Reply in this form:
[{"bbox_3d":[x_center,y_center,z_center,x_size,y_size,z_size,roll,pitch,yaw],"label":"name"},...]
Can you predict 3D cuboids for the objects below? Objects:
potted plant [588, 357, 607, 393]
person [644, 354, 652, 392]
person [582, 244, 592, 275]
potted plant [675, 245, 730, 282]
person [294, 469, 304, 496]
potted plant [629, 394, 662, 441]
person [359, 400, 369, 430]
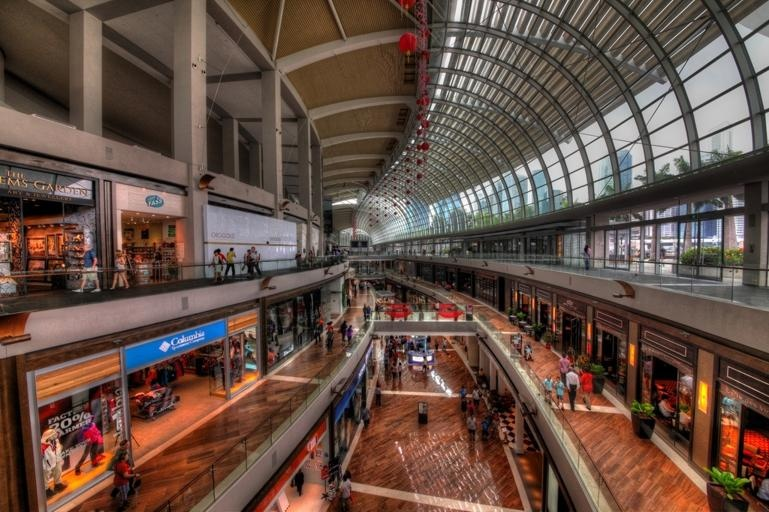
[{"bbox_3d":[10.138,5.763,22.533,0.760,1.417,0.858,-7,-13,35],"label":"potted plant"},{"bbox_3d":[11.465,5.089,20.549,0.102,1.540,0.425,-1,1,-29],"label":"person"},{"bbox_3d":[10.546,0.123,24.604,0.308,1.227,0.996,0,1,19],"label":"person"},{"bbox_3d":[13.427,0.429,20.035,1.823,1.501,2.157,-3,3,8],"label":"potted plant"},{"bbox_3d":[-3.926,10.489,22.145,0.437,0.975,0.586,0,1,31],"label":"person"},{"bbox_3d":[10.673,6.707,19.890,1.365,1.638,1.196,5,8,40],"label":"potted plant"},{"bbox_3d":[-1.114,8.911,26.828,0.423,1.412,0.711,-1,1,1],"label":"person"}]
